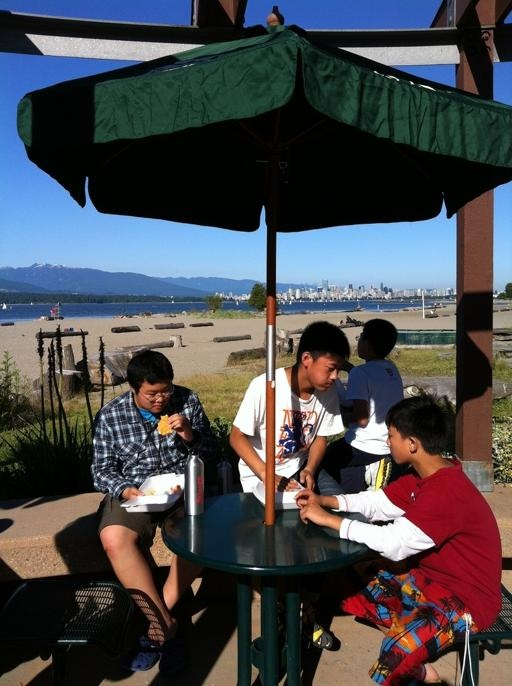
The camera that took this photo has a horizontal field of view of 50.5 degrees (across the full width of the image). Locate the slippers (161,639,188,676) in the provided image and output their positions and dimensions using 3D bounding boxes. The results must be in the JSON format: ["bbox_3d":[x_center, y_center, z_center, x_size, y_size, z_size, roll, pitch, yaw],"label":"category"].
[{"bbox_3d":[-0.386,1.462,2.507,0.089,0.074,0.165,1,4,-4],"label":"slippers"}]

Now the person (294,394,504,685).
[{"bbox_3d":[0.638,0.791,2.747,1.163,1.726,0.819,1,-3,2],"label":"person"}]

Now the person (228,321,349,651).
[{"bbox_3d":[0.187,0.606,2.540,0.566,1.413,0.699,7,-7,-34],"label":"person"}]

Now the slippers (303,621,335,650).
[{"bbox_3d":[0.286,1.466,2.718,0.105,0.089,0.206,6,-6,-33],"label":"slippers"}]
